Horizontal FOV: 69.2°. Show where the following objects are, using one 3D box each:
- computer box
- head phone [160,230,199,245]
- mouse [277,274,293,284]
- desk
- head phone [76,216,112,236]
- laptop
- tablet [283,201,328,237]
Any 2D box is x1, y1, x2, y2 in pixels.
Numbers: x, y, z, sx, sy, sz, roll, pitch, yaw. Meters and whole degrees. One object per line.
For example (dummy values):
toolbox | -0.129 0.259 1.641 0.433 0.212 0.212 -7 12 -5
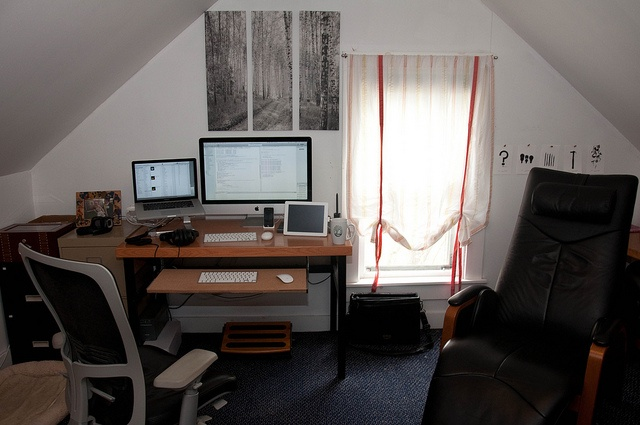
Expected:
computer box | -1.351 0.655 3.536 0.277 0.566 0.392 1 11 -7
head phone | -1.016 0.174 3.358 0.276 0.114 0.205 -4 11 -18
mouse | -0.245 0.472 3.350 0.055 0.021 0.092 -6 15 -18
desk | -0.587 0.757 4.042 2.666 1.375 1.277 0 12 0
head phone | -1.669 0.103 3.463 0.132 0.080 0.186 4 7 17
laptop | -1.229 -0.227 3.744 0.617 0.442 0.484 -4 16 -18
tablet | -0.109 0.049 3.584 0.339 0.253 0.018 3 1 -20
